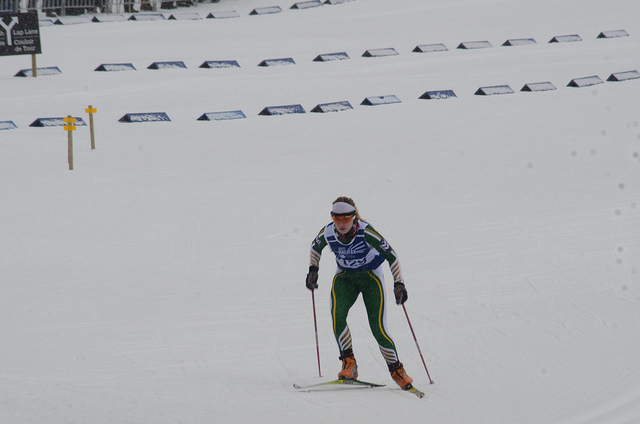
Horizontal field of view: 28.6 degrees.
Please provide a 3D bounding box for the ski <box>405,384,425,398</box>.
[{"bbox_3d":[1.551,2.906,20.545,0.317,0.194,0.142,0,10,2],"label":"ski"}]
